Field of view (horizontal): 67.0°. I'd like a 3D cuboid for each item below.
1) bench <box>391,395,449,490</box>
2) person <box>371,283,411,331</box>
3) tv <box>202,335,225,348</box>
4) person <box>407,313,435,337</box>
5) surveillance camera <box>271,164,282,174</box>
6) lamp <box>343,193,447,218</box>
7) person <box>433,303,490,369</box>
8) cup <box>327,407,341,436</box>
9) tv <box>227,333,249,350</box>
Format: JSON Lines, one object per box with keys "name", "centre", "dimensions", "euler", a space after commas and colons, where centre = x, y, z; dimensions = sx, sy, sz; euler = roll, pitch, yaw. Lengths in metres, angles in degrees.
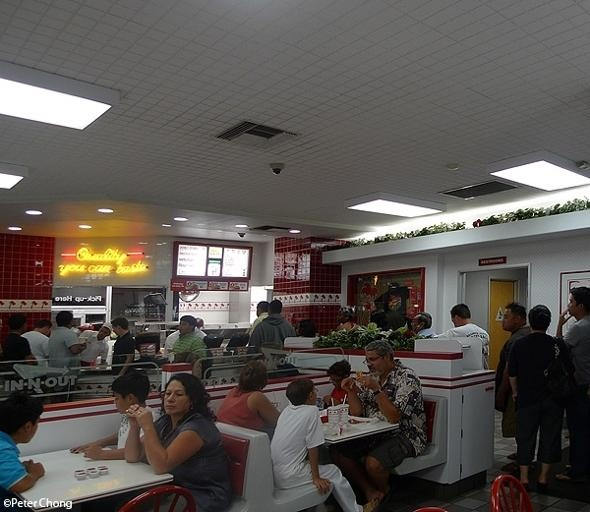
{"name": "bench", "centre": [1.125, 1.676, 4.219], "dimensions": [0.687, 0.576, 0.433], "euler": [-7, -27, 13]}
{"name": "person", "centre": [2.012, 1.043, 9.128], "dimensions": [0.710, 0.852, 1.143], "euler": [5, -10, -28]}
{"name": "tv", "centre": [-1.397, 1.490, 7.701], "dimensions": [0.245, 0.192, 0.264], "euler": [4, -17, -20]}
{"name": "person", "centre": [1.681, 0.912, 5.857], "dimensions": [0.276, 0.299, 0.716], "euler": [-1, -6, 14]}
{"name": "surveillance camera", "centre": [-0.221, -1.044, 5.377], "dimensions": [0.112, 0.055, 0.092], "euler": [-3, -3, 32]}
{"name": "lamp", "centre": [1.570, -0.776, 6.900], "dimensions": [1.380, 0.135, 0.643], "euler": [4, -6, -34]}
{"name": "person", "centre": [2.043, 1.066, 5.461], "dimensions": [0.678, 0.833, 0.544], "euler": [0, -2, 3]}
{"name": "cup", "centre": [0.272, 1.254, 3.431], "dimensions": [0.149, 0.141, 0.124], "euler": [1, -6, -6]}
{"name": "tv", "centre": [-0.945, 1.397, 7.392], "dimensions": [0.307, 0.190, 0.565], "euler": [0, -6, 4]}
